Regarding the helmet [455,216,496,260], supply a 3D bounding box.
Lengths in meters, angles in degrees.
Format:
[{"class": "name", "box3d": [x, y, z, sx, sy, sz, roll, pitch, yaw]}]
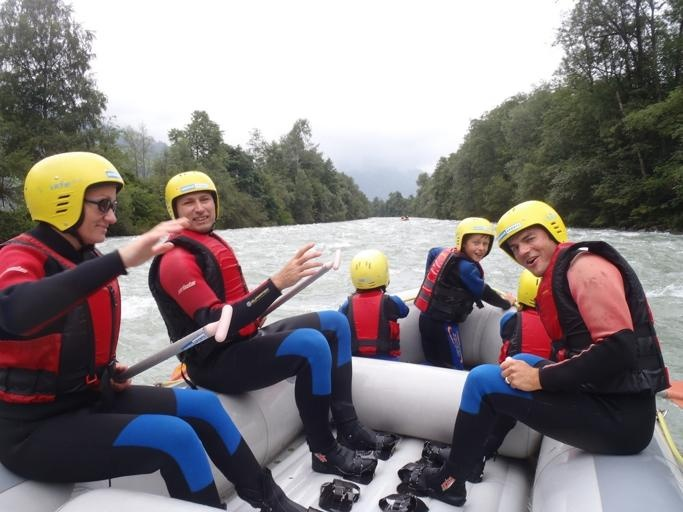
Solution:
[{"class": "helmet", "box3d": [1.296, -0.147, 5.026, 0.352, 0.368, 0.416, 7, -13, -21]}]

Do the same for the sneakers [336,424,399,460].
[{"class": "sneakers", "box3d": [0.175, 1.196, 3.538, 0.382, 0.158, 0.201, 10, 18, 10]}]

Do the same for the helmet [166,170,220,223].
[{"class": "helmet", "box3d": [-0.987, -0.335, 3.518, 0.328, 0.337, 0.371, -7, -9, -42]}]

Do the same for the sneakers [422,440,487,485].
[{"class": "sneakers", "box3d": [0.732, 1.255, 3.285, 0.177, 0.224, 0.527, 0, -18, -21]}]

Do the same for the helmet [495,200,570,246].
[{"class": "helmet", "box3d": [1.067, -0.172, 3.079, 0.336, 0.264, 0.250, -27, 8, -15]}]

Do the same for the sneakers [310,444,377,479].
[{"class": "sneakers", "box3d": [0.008, 1.263, 3.308, 0.361, 0.143, 0.201, 2, 14, 14]}]

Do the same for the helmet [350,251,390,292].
[{"class": "helmet", "box3d": [0.230, 0.135, 4.583, 0.341, 0.336, 0.455, -4, 7, 15]}]

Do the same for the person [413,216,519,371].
[{"class": "person", "box3d": [1.212, 0.580, 5.158, 0.917, 1.840, 0.609, 0, 14, 9]}]

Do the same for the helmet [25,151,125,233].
[{"class": "helmet", "box3d": [-1.348, -0.333, 2.685, 0.451, 0.355, 0.335, -1, 8, -1]}]
